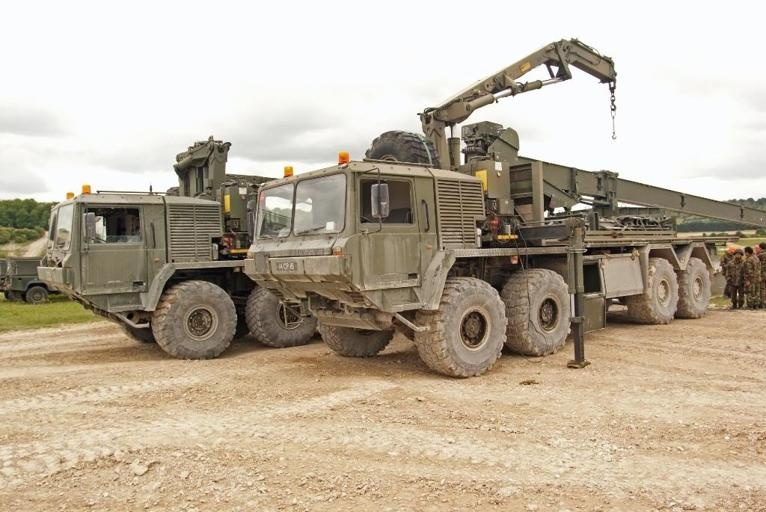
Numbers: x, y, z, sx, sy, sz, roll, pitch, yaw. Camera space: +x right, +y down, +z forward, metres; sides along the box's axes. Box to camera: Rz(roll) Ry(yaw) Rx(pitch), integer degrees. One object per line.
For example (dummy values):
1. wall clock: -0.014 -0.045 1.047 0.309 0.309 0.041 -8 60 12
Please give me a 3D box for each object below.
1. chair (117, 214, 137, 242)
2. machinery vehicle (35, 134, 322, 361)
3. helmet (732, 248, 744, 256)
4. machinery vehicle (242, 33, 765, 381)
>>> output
1. chair: -4.947 -0.548 12.434 0.328 0.559 0.190 -5 9 -24
2. machinery vehicle: -3.784 -0.065 15.059 7.764 4.937 3.823 -2 -6 -35
3. helmet: 10.401 -0.133 18.616 0.233 0.174 0.346 -1 -19 19
4. machinery vehicle: 1.818 -0.591 14.264 13.429 6.274 4.876 2 -4 -41
